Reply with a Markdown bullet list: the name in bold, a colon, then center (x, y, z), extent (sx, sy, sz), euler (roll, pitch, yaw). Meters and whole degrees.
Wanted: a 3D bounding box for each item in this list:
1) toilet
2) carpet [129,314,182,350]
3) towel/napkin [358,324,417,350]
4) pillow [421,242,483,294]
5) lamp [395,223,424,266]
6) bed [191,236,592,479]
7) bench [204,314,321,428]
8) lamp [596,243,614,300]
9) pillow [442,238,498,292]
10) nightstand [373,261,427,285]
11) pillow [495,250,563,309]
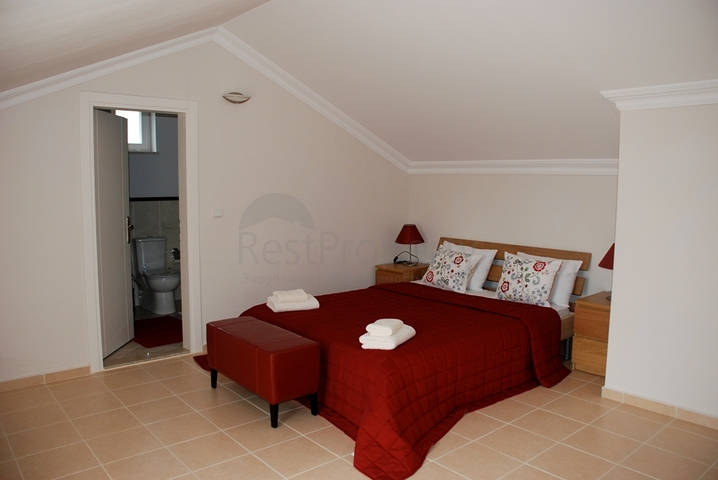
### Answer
- **toilet**: center (-3.065, 0.550, 7.056), extent (0.545, 1.094, 0.967), euler (-8, 16, -29)
- **carpet**: center (-2.680, 1.239, 6.278), extent (0.630, 0.652, 0.019), euler (-14, 44, -8)
- **towel/napkin**: center (0.296, 0.893, 4.252), extent (0.568, 0.117, 0.245), euler (-6, 15, -26)
- **pillow**: center (1.218, 0.381, 6.175), extent (0.189, 0.569, 0.661), euler (33, -8, -40)
- **lamp**: center (0.745, 0.073, 7.201), extent (0.546, 0.572, 0.463), euler (-1, 2, 11)
- **bed**: center (0.894, 1.118, 4.837), extent (2.797, 0.952, 2.524), euler (-4, 7, -36)
- **bench**: center (-0.962, 1.218, 4.619), extent (0.598, 0.623, 1.325), euler (-4, 6, -40)
- **lamp**: center (2.730, 0.342, 5.193), extent (0.145, 0.604, 0.734), euler (8, 16, 27)
- **pillow**: center (1.522, 0.371, 6.216), extent (0.672, 0.588, 0.181), euler (14, -14, 35)
- **nightstand**: center (0.611, 0.397, 6.987), extent (0.410, 0.453, 0.493), euler (-1, 3, -37)
- **pillow**: center (1.994, 0.478, 5.555), extent (0.651, 0.557, 0.178), euler (12, -7, 46)
